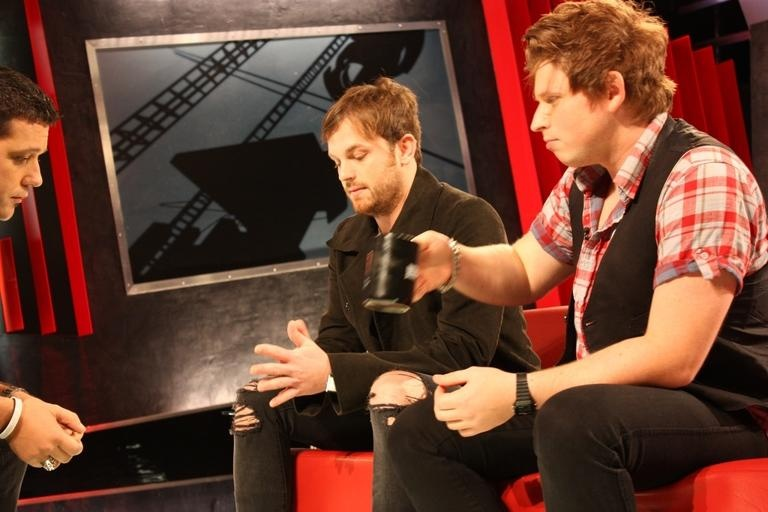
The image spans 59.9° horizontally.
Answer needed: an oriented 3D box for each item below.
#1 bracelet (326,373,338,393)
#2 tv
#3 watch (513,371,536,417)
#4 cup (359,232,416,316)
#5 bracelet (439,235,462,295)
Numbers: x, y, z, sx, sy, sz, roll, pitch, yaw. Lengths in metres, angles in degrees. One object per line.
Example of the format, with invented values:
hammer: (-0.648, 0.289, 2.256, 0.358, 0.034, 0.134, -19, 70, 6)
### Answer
bracelet: (-0.153, 0.388, 2.016, 0.047, 0.044, 0.012, 6, -4, 25)
tv: (-0.586, -0.418, 3.000, 1.475, 0.965, 0.055, -6, -5, -18)
watch: (0.343, 0.347, 1.651, 0.057, 0.090, 0.088, -5, -4, 3)
cup: (0.014, 0.046, 1.817, 0.140, 0.205, 0.140, 3, -18, 1)
bracelet: (0.196, 0.023, 1.913, 0.048, 0.127, 0.104, 3, 29, -5)
